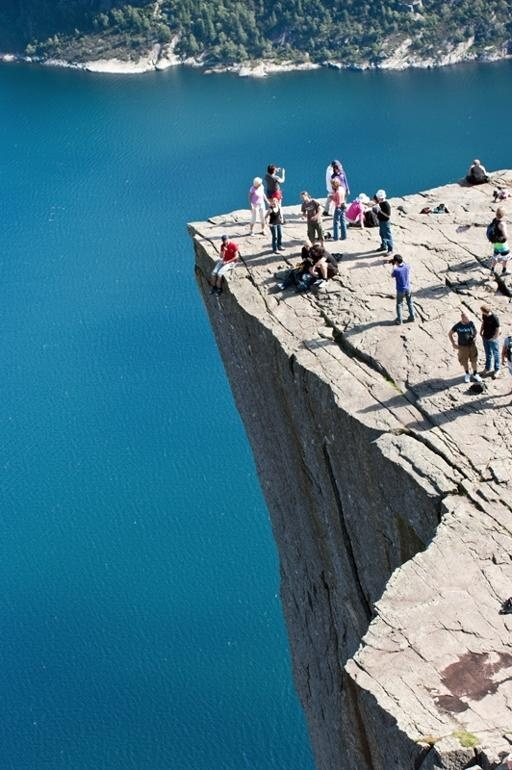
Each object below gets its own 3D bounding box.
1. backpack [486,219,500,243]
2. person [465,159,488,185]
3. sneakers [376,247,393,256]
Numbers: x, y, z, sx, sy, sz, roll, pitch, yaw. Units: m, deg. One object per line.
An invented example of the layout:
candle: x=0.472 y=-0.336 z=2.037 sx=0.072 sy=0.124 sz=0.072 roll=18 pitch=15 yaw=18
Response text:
backpack: x=6.282 y=-4.076 z=21.088 sx=0.459 sy=0.512 sz=0.341 roll=5 pitch=39 yaw=13
person: x=8.181 y=-7.875 z=29.792 sx=0.844 sy=0.891 sz=0.860 roll=-2 pitch=19 yaw=15
sneakers: x=3.844 y=-4.015 z=24.205 sx=0.495 sy=0.186 sz=0.232 roll=7 pitch=2 yaw=28
